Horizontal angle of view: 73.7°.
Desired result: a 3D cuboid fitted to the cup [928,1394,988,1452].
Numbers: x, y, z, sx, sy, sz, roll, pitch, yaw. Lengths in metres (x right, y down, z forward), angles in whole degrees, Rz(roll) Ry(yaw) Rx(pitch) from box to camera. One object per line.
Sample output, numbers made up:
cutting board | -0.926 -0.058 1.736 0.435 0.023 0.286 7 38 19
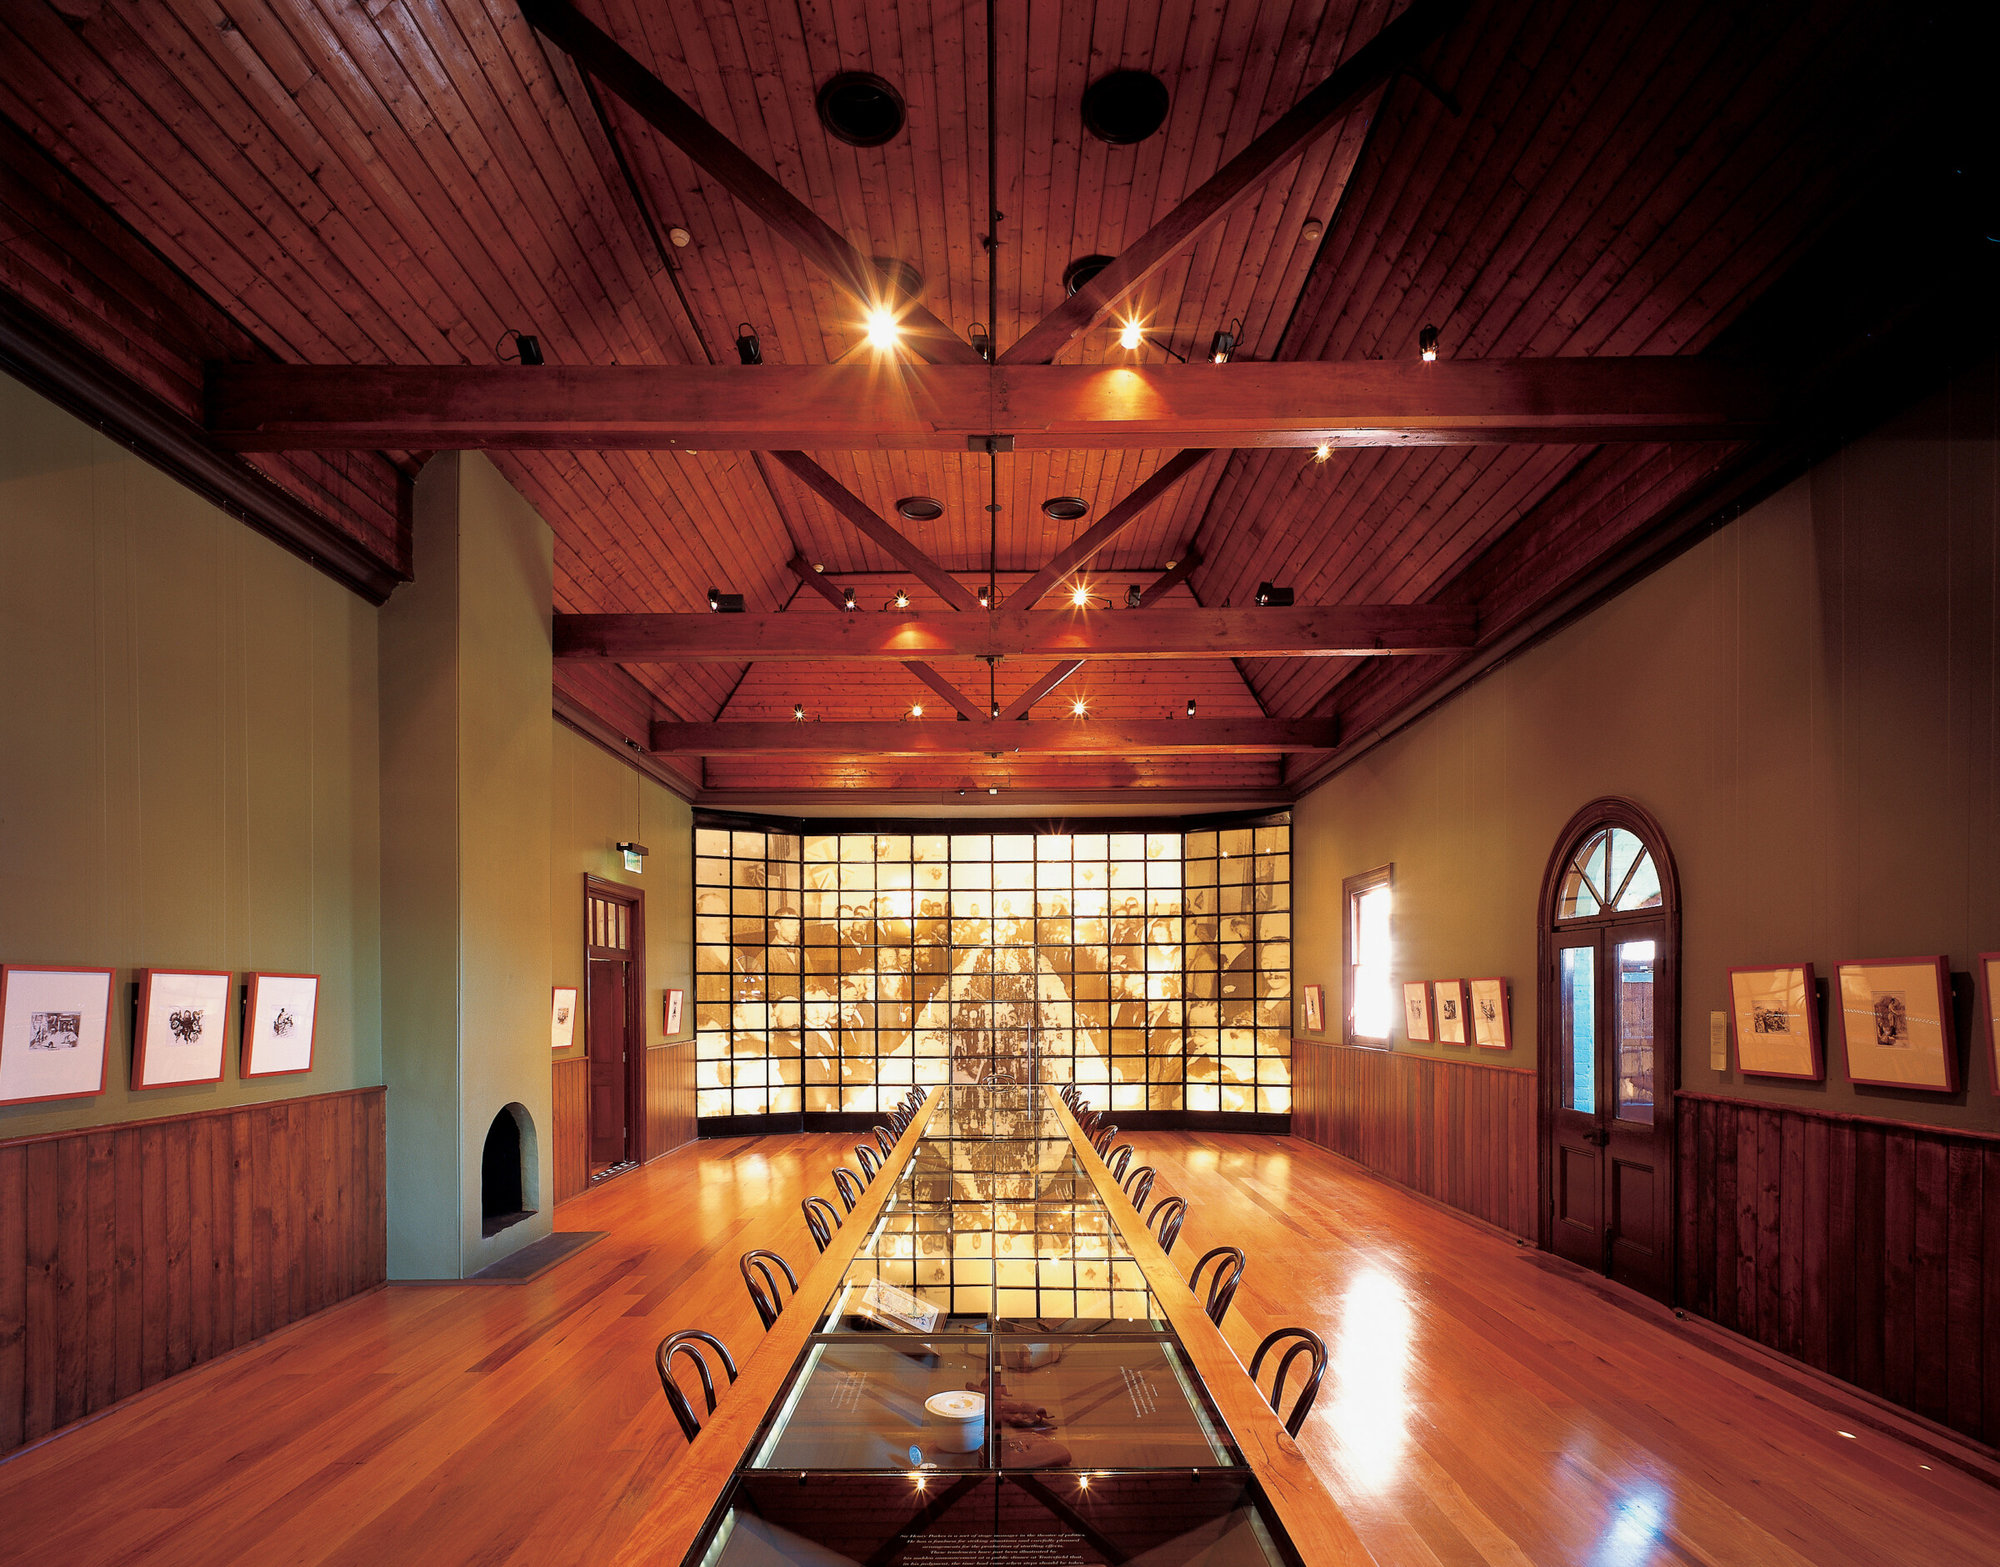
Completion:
cup | -0.109 1.743 3.649 0.100 0.090 0.112 1 -7 1
